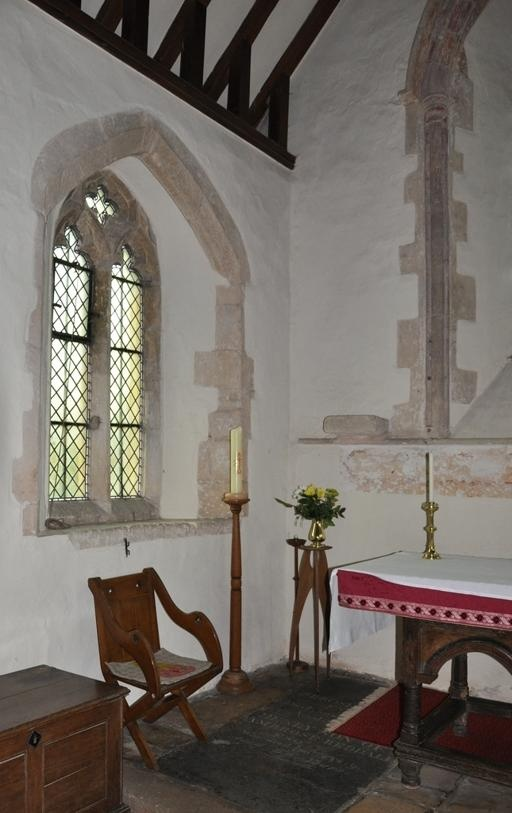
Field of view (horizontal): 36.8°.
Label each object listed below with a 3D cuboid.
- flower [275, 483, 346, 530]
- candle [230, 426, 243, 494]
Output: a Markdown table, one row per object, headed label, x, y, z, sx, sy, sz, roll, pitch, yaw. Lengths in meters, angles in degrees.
| label | x | y | z | sx | sy | sz | roll | pitch | yaw |
| --- | --- | --- | --- | --- | --- | --- | --- | --- | --- |
| flower | 0.351 | 0.620 | 4.507 | 0.356 | 0.261 | 0.379 | 12 | -17 | 26 |
| candle | -0.105 | 0.291 | 4.088 | 0.059 | 0.358 | 0.147 | 1 | -3 | -2 |
